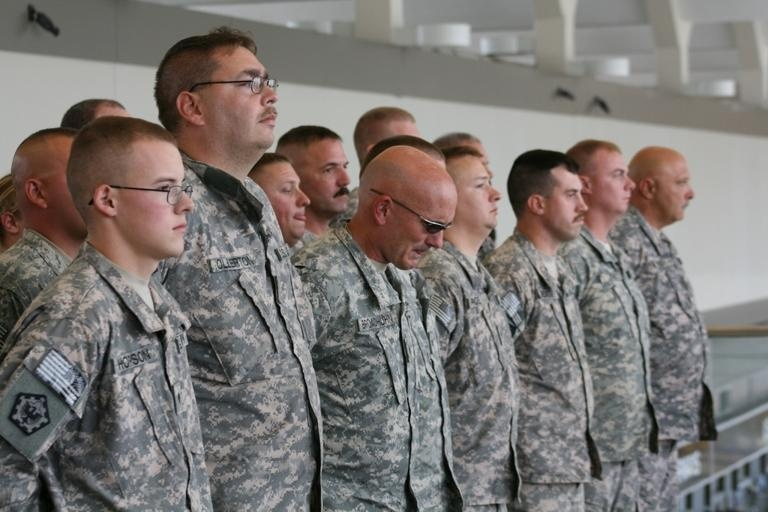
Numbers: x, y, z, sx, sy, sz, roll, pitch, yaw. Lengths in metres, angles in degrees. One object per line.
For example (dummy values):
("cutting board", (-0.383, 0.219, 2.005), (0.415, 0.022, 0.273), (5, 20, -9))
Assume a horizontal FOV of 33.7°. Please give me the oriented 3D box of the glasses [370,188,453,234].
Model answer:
("glasses", (0.139, -0.199, 6.301), (0.290, 0.072, 0.214), (33, -1, -3))
